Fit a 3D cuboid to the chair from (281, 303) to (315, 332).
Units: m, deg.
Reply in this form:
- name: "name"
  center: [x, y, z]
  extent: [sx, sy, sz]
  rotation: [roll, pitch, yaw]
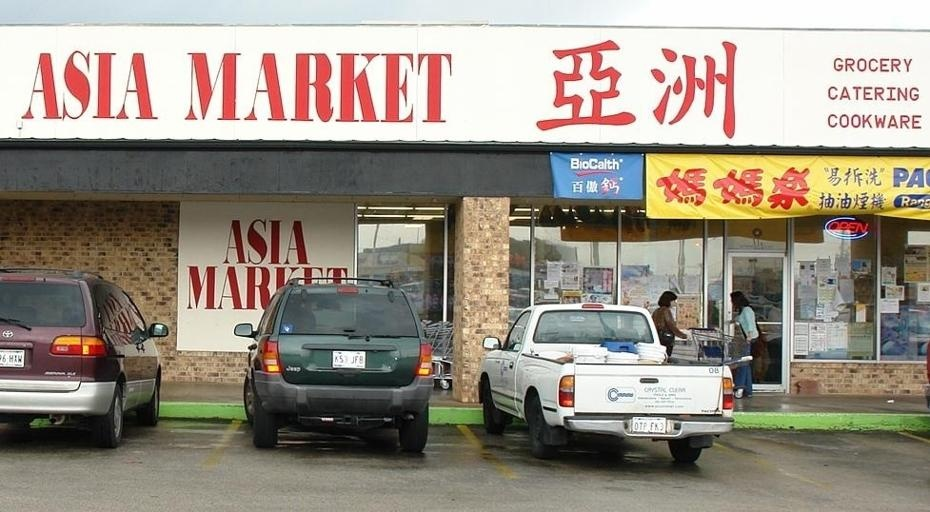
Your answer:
- name: "chair"
  center: [-3.331, 1.249, 23.332]
  extent: [0.622, 0.505, 0.290]
  rotation: [1, 13, -7]

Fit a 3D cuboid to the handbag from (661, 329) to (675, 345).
- name: "handbag"
  center: [4.640, 1.965, 28.511]
  extent: [0.507, 0.267, 0.495]
  rotation: [7, 5, 5]

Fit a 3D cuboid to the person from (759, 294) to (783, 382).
- name: "person"
  center: [7.490, 2.111, 30.211]
  extent: [0.644, 2.193, 0.679]
  rotation: [2, 13, -3]

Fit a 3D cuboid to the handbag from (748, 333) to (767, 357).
- name: "handbag"
  center: [7.176, 2.280, 30.118]
  extent: [0.462, 0.566, 0.260]
  rotation: [-2, -1, -15]

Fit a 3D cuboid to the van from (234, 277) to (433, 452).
- name: "van"
  center: [-2.473, 2.004, 23.312]
  extent: [2.789, 1.888, 4.190]
  rotation: [2, -1, -9]
